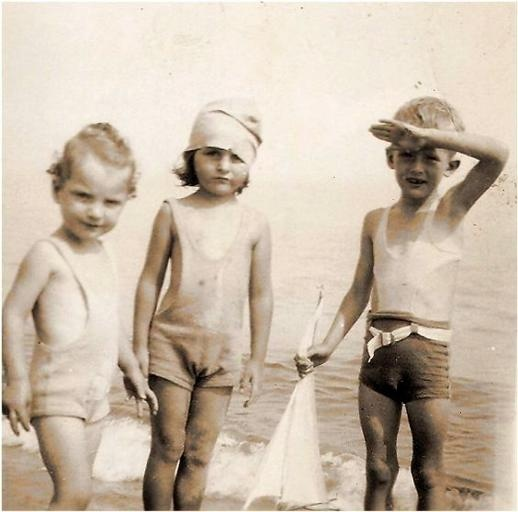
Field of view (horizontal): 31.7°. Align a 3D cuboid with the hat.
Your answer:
[{"bbox_3d":[-0.186,-0.585,4.512,0.294,0.304,0.368,27,-22,-3],"label":"hat"}]
